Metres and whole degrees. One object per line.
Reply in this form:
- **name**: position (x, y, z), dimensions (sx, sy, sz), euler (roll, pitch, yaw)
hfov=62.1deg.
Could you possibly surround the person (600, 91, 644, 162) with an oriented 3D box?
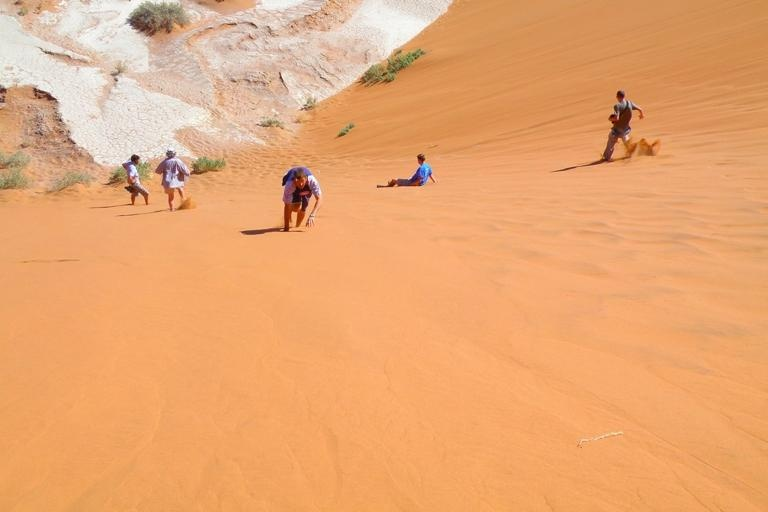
- **person**: position (4.770, -2.632, 12.749), dimensions (0.596, 1.307, 1.610), euler (11, 22, 19)

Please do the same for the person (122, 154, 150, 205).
- **person**: position (-5.012, -1.508, 13.031), dimensions (0.551, 1.003, 0.534), euler (-9, 20, -31)

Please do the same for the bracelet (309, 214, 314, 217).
- **bracelet**: position (-1.148, -0.640, 10.239), dimensions (0.061, 0.058, 0.055), euler (-3, 13, -12)

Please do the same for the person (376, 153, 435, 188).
- **person**: position (0.467, -1.645, 13.161), dimensions (1.027, 0.532, 0.765), euler (-5, 19, 16)
